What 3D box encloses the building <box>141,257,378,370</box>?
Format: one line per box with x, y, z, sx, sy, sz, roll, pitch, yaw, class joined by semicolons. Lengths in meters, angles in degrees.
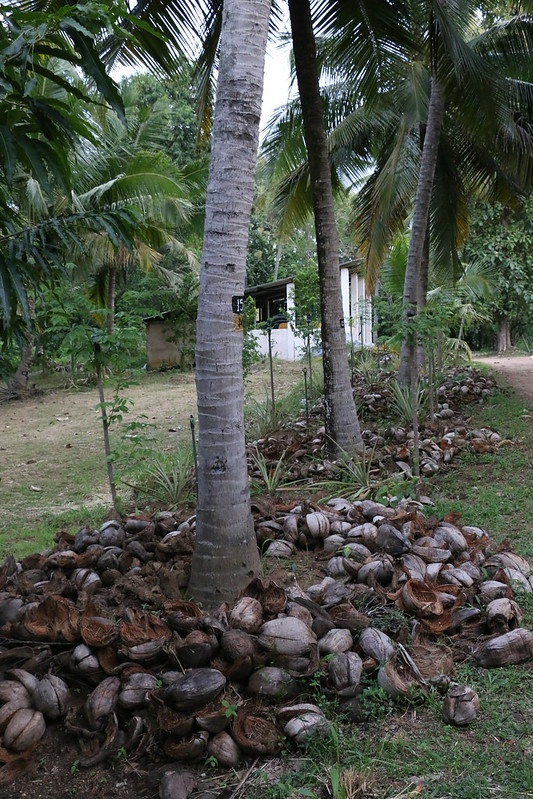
0.181;-3.203;18.017;6.306;2.739;4.039;-4;-1;-23;building

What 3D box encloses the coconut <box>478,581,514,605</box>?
1.138;0.951;2.992;0.122;0.078;0.097;-9;13;8;coconut
